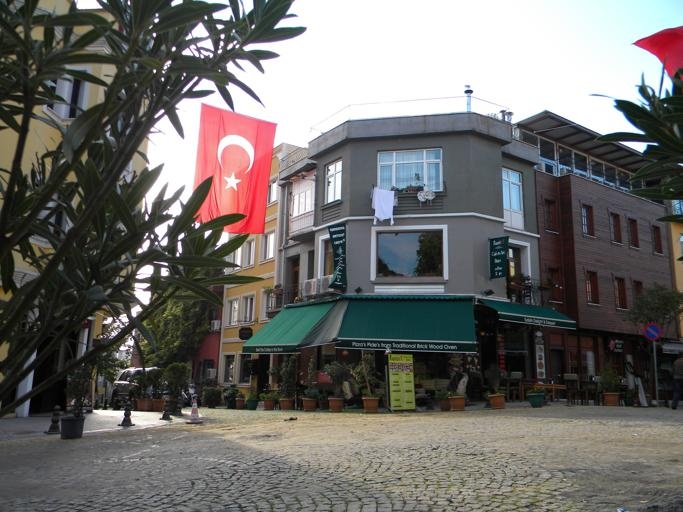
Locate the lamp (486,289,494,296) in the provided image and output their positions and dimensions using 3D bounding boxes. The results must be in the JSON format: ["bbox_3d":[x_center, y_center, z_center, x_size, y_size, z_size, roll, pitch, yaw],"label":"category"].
[{"bbox_3d":[6.380,1.571,22.388,0.153,0.284,0.456,-12,-20,38],"label":"lamp"}]

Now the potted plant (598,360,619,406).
[{"bbox_3d":[10.907,5.256,21.197,0.631,1.630,0.878,-5,-18,20],"label":"potted plant"}]

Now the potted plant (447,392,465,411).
[{"bbox_3d":[4.035,5.160,18.131,0.596,0.380,0.552,-1,-14,3],"label":"potted plant"}]

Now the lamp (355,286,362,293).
[{"bbox_3d":[0.720,1.486,22.655,0.267,0.313,0.093,3,-18,-7],"label":"lamp"}]

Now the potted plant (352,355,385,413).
[{"bbox_3d":[1.010,4.868,19.882,1.283,2.077,2.690,1,-16,3],"label":"potted plant"}]

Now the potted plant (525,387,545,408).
[{"bbox_3d":[7.089,5.202,18.947,0.567,0.673,1.801,-4,-16,19],"label":"potted plant"}]

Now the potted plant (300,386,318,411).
[{"bbox_3d":[-1.322,5.913,21.292,0.942,1.085,0.870,5,-24,-11],"label":"potted plant"}]

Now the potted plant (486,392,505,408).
[{"bbox_3d":[5.520,5.196,18.533,0.547,0.533,0.860,-2,-16,12],"label":"potted plant"}]

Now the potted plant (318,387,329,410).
[{"bbox_3d":[-0.739,5.888,21.169,0.508,0.639,0.509,0,-18,0],"label":"potted plant"}]

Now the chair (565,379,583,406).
[{"bbox_3d":[10.318,6.039,22.955,0.631,1.002,2.749,-6,-17,24],"label":"chair"}]

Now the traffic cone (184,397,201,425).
[{"bbox_3d":[-4.537,4.807,16.000,0.455,0.724,0.862,5,-16,-13],"label":"traffic cone"}]

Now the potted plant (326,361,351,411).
[{"bbox_3d":[-0.115,5.096,20.199,0.920,1.845,2.158,1,-16,1],"label":"potted plant"}]
